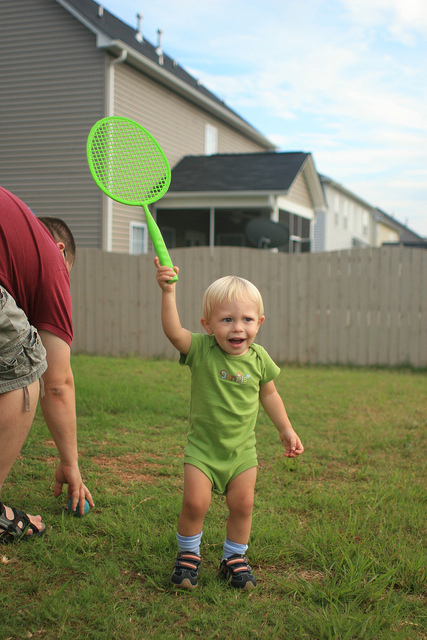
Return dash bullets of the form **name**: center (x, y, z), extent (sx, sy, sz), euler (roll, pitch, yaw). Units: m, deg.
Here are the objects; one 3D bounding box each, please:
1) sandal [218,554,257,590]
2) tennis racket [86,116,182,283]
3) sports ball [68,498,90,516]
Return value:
- **sandal**: center (0.080, 0.965, 2.659), extent (0.098, 0.093, 0.217), euler (1, -1, -17)
- **tennis racket**: center (-0.342, -0.486, 2.850), extent (0.038, 0.760, 0.427), euler (-24, -3, 39)
- **sports ball**: center (-0.616, 0.864, 3.181), extent (0.078, 0.095, 0.082), euler (0, 5, 0)
